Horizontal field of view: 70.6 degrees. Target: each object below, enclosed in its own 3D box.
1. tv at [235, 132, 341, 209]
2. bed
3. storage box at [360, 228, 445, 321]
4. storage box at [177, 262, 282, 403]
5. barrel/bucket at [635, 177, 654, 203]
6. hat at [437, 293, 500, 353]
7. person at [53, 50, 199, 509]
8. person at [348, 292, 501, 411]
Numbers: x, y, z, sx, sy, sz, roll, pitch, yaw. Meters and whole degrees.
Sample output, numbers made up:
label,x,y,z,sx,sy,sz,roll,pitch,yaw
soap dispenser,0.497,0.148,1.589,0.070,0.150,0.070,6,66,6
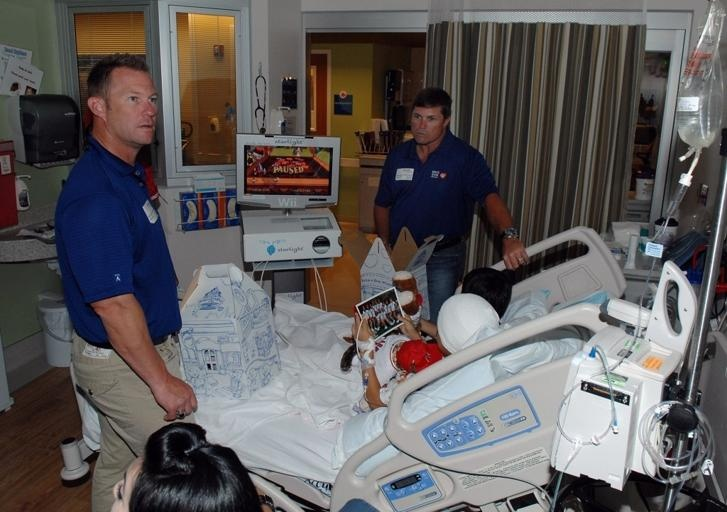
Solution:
label,x,y,z,sx,sy,sz,roll,pitch,yaw
tv,-0.503,-0.557,3.371,0.473,0.384,0.053,1,15,-6
bed,0.117,0.488,2.999,2.515,1.274,1.510,-2,43,4
storage box,0.128,0.064,2.847,0.458,0.528,0.298,10,29,20
storage box,-0.618,0.324,2.658,0.495,0.642,0.624,-2,12,9
barrel/bucket,2.317,-0.550,4.246,0.150,0.174,0.150,3,12,-1
hat,0.407,0.279,1.994,0.143,0.229,0.220,-16,22,-42
person,-0.955,0.175,2.010,0.447,1.836,0.543,-8,17,-23
person,0.234,0.415,2.196,0.699,0.325,0.572,-6,22,15
